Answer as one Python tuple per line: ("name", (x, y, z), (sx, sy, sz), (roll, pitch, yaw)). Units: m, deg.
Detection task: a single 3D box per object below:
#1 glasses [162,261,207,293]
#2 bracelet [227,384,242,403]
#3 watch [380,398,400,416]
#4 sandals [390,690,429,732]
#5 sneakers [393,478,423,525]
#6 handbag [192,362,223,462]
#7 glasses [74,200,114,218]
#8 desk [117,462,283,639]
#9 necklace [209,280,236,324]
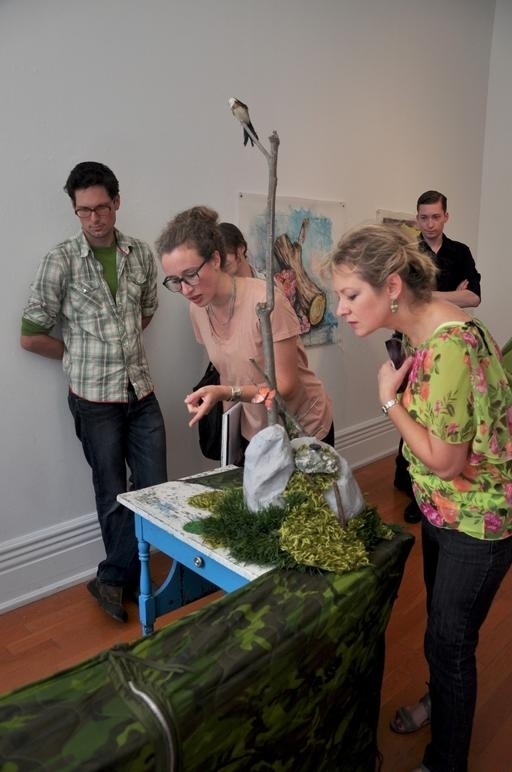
("glasses", (-0.215, -0.321, 1.665), (0.074, 0.080, 0.146), (-7, 12, -40))
("bracelet", (-0.067, 0.031, 1.696), (0.036, 0.046, 0.043), (-1, 2, -4))
("watch", (0.282, 0.041, 1.221), (0.042, 0.028, 0.042), (-37, -9, 3))
("sandals", (0.484, 0.992, 1.737), (0.145, 0.033, 0.065), (-27, 42, 3))
("sneakers", (0.881, 0.668, 3.358), (0.118, 0.156, 0.381), (-17, 9, 3))
("handbag", (-0.171, 0.092, 2.247), (0.104, 0.354, 0.272), (1, 1, 1))
("glasses", (-0.590, -0.641, 2.090), (0.128, 0.060, 0.071), (-2, 10, -17))
("desk", (-0.126, 0.511, 1.699), (0.532, 0.440, 0.449), (-8, -16, -2))
("necklace", (-0.099, -0.265, 1.769), (0.096, 0.126, 0.035), (3, 22, 22))
